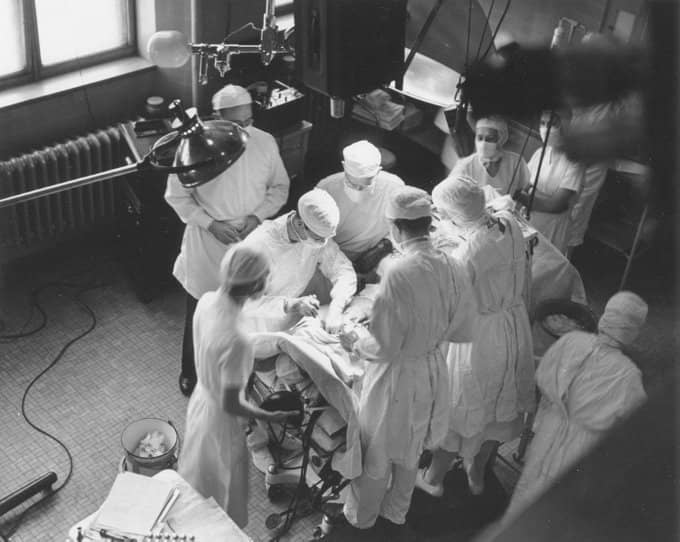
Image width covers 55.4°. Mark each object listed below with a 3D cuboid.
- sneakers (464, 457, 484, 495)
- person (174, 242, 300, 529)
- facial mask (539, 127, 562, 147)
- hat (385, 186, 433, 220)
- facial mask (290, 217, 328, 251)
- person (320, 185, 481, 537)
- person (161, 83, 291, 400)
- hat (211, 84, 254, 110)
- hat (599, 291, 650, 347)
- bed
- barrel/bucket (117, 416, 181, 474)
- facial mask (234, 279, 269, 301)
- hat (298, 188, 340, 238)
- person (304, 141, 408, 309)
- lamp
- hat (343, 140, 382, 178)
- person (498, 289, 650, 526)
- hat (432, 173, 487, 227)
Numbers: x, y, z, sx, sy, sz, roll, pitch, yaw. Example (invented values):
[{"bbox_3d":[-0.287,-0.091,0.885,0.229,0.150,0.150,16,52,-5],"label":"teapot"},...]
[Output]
[{"bbox_3d":[0.641,0.978,3.100,0.086,0.208,0.083,-8,14,2],"label":"sneakers"},{"bbox_3d":[-0.434,0.533,2.532,0.429,1.314,0.350,-10,35,-19],"label":"person"},{"bbox_3d":[0.902,-0.569,2.746,0.071,0.046,0.079,8,67,6],"label":"facial mask"},{"bbox_3d":[0.266,-0.251,2.473,0.180,0.119,0.184,-9,1,-32],"label":"hat"},{"bbox_3d":[-0.139,-0.148,2.837,0.110,0.082,0.148,-29,80,-46],"label":"facial mask"},{"bbox_3d":[0.213,0.462,2.633,0.620,1.505,0.422,-23,41,-34],"label":"person"},{"bbox_3d":[-0.695,-0.131,3.441,0.606,1.858,0.502,-14,40,-43],"label":"person"},{"bbox_3d":[-0.527,-0.814,3.105,0.128,0.108,0.151,-17,19,-26],"label":"hat"},{"bbox_3d":[1.100,0.170,2.598,0.134,0.227,0.165,5,30,-9],"label":"hat"},{"bbox_3d":[0.185,0.034,3.075,1.487,0.462,1.117,-36,50,-4],"label":"bed"},{"bbox_3d":[-0.848,0.798,2.916,0.243,0.222,0.255,6,49,-7],"label":"barrel/bucket"},{"bbox_3d":[-0.309,0.070,2.293,0.069,0.081,0.092,11,67,43],"label":"facial mask"},{"bbox_3d":[-0.086,-0.240,2.775,0.152,0.178,0.202,-23,17,-36],"label":"hat"},{"bbox_3d":[0.157,-0.195,3.410,0.452,1.125,0.316,-13,54,-2],"label":"person"},{"bbox_3d":[-1.165,-0.583,3.433,0.958,0.367,0.336,-22,50,-3],"label":"lamp"},{"bbox_3d":[0.104,-0.509,2.994,0.156,0.145,0.137,10,34,10],"label":"hat"},{"bbox_3d":[1.040,0.665,2.848,0.411,1.223,0.387,26,28,27],"label":"person"},{"bbox_3d":[0.459,-0.251,2.636,0.229,0.182,0.253,1,58,-4],"label":"hat"}]
